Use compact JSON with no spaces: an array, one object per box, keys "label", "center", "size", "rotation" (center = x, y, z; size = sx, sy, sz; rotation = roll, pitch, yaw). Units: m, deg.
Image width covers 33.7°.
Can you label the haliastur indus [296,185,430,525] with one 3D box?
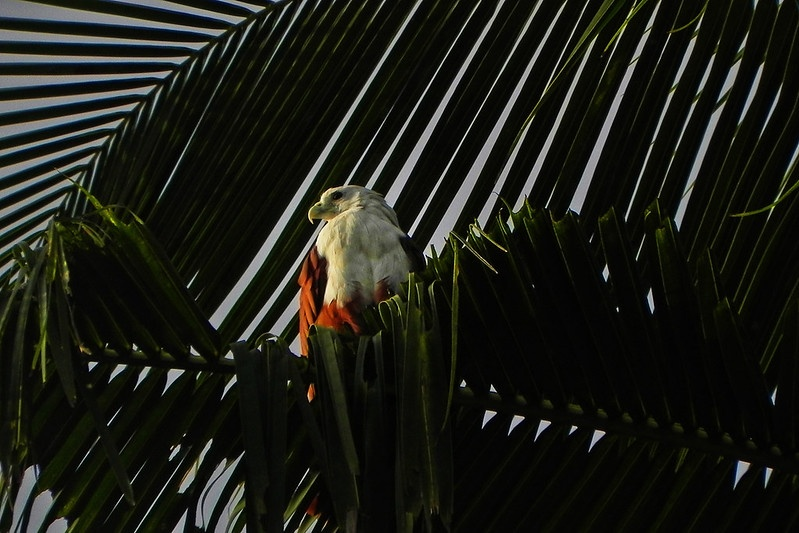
[{"label":"haliastur indus","center":[-0.154,0.415,6.722],"size":[0.608,1.692,1.224],"rotation":[-3,-65,2]}]
